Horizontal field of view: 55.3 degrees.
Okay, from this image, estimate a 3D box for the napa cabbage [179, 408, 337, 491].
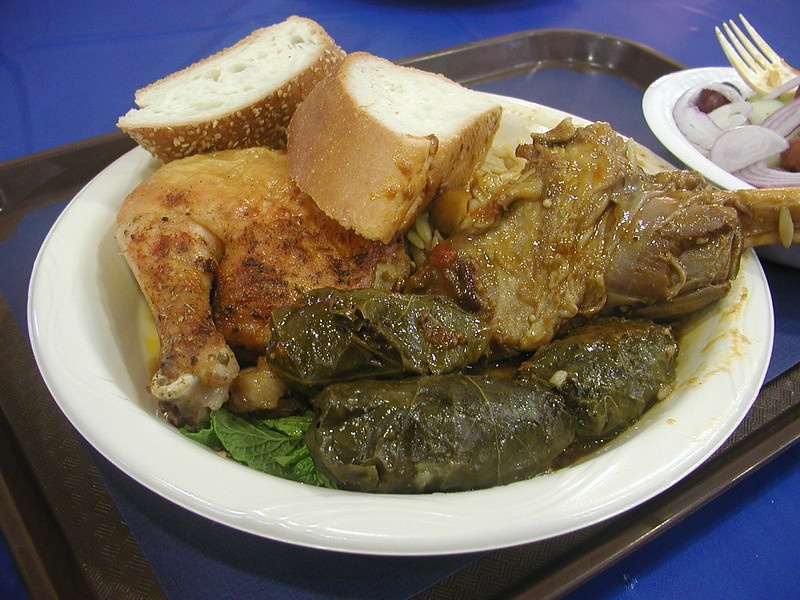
[{"bbox_3d":[-0.565,0.487,3.046,0.558,0.150,0.345,17,38,23],"label":"napa cabbage"}]
